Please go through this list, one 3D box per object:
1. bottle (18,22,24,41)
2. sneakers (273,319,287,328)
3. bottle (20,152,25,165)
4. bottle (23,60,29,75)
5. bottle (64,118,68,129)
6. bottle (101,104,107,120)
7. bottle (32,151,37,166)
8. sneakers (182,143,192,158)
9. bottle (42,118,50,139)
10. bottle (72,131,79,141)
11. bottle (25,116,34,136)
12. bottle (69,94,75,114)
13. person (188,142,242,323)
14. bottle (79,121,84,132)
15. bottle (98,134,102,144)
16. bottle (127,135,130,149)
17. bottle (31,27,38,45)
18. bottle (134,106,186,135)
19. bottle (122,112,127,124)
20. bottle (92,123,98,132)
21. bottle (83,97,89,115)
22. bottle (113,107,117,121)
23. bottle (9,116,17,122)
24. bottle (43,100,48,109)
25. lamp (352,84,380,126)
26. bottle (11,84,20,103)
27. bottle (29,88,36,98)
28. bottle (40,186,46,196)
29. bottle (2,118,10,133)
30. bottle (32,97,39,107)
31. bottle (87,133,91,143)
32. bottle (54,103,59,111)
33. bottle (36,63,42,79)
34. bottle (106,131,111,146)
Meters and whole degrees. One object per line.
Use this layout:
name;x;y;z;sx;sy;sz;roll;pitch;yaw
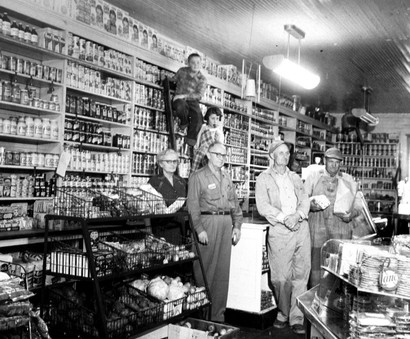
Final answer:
bottle;-2.035;-1.525;3.854;0.062;0.215;0.105;1;-2;-30
sneakers;0.842;1.730;3.894;0.154;0.077;0.115;1;-1;9
bottle;-2.046;-0.119;3.912;0.064;0.141;0.025;2;-2;-37
bottle;-1.989;-1.136;3.874;0.033;0.164;0.072;-1;-2;43
bottle;-1.713;-0.566;4.307;0.053;0.132;0.022;2;-3;-44
bottle;-1.380;-0.775;4.737;0.093;0.190;0.047;2;-2;-38
bottle;-1.944;-0.109;3.969;0.031;0.157;0.071;-1;-2;40
sneakers;-0.296;-0.303;5.777;0.138;0.246;0.064;-3;7;-36
bottle;-1.855;-0.476;4.066;0.087;0.229;0.047;2;-2;-37
bottle;-1.625;-0.429;4.388;0.077;0.166;0.088;1;0;15
bottle;-1.984;-0.486;3.933;0.092;0.225;0.034;2;-2;-42
bottle;-1.646;-0.808;4.350;0.020;0.224;0.085;-1;-2;33
person;0.111;0.730;3.820;0.710;1.776;0.272;2;-2;-33
bottle;-1.582;-0.556;4.485;0.019;0.123;0.098;0;-2;21
bottle;-1.421;-0.401;4.702;0.011;0.122;0.076;-1;-2;38
bottle;-1.108;-0.392;5.035;0.042;0.184;0.038;1;-2;-22
bottle;-1.939;-1.494;3.958;0.073;0.220;0.162;1;-2;-28
bottle;-0.829;-0.765;5.338;0.063;0.336;0.676;-1;-2;38
bottle;-1.168;-0.746;5.033;0.072;0.161;0.028;2;-2;-32
bottle;-1.474;-0.554;4.642;0.070;0.166;0.087;2;15;-4
bottle;-1.535;-0.813;4.501;0.018;0.219;0.084;-1;-2;31
bottle;-1.272;-0.774;4.911;0.045;0.198;0.146;0;-2;3
bottle;-2.111;-0.550;3.833;0.053;0.066;0.062;0;3;2
bottle;-1.850;-0.751;4.037;0.053;0.108;0.050;1;-2;0
lamp;4.020;-1.574;8.737;0.449;0.802;1.495;0;-2;30
bottle;-2.068;-0.833;3.816;0.045;0.217;0.097;-1;-2;38
bottle;-1.994;-0.873;4.017;0.065;0.113;0.113;1;-2;-19
bottle;-1.875;0.256;4.026;0.013;0.111;0.058;-1;-2;37
bottle;-2.142;-0.469;3.750;0.080;0.157;0.031;2;-2;-37
bottle;-1.931;-0.762;3.967;0.071;0.107;0.082;-1;-6;12
bottle;-1.520;-0.409;4.567;0.009;0.118;0.064;0;-2;27
bottle;-1.762;-0.743;4.145;0.031;0.104;0.065;0;-2;18
bottle;-1.898;-1.129;3.982;0.068;0.160;0.042;2;-2;-40
bottle;-1.336;-0.417;4.846;0.046;0.197;0.142;0;-2;5
